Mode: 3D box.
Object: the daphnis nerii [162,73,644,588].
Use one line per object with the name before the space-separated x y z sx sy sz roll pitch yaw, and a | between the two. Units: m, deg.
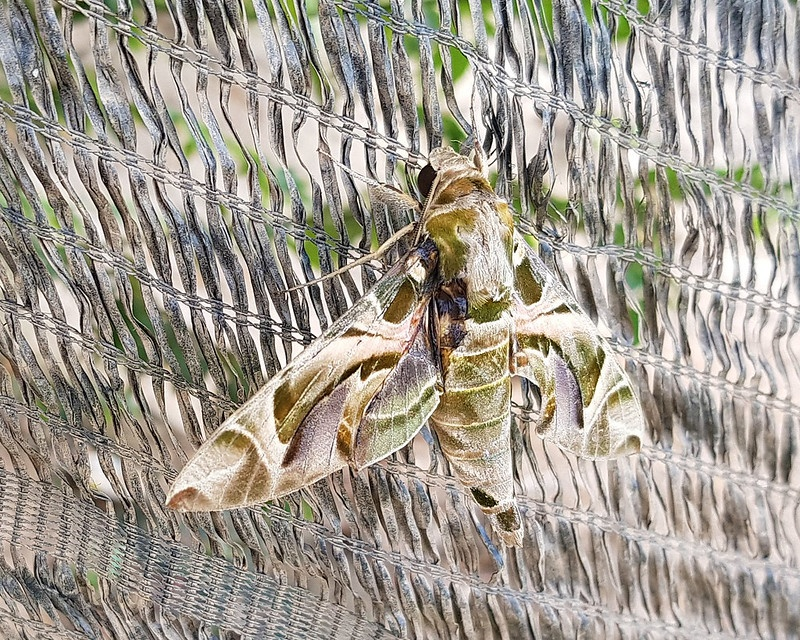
daphnis nerii | 0.161 0.024 3.134 0.698 0.224 0.622 18 -84 38
